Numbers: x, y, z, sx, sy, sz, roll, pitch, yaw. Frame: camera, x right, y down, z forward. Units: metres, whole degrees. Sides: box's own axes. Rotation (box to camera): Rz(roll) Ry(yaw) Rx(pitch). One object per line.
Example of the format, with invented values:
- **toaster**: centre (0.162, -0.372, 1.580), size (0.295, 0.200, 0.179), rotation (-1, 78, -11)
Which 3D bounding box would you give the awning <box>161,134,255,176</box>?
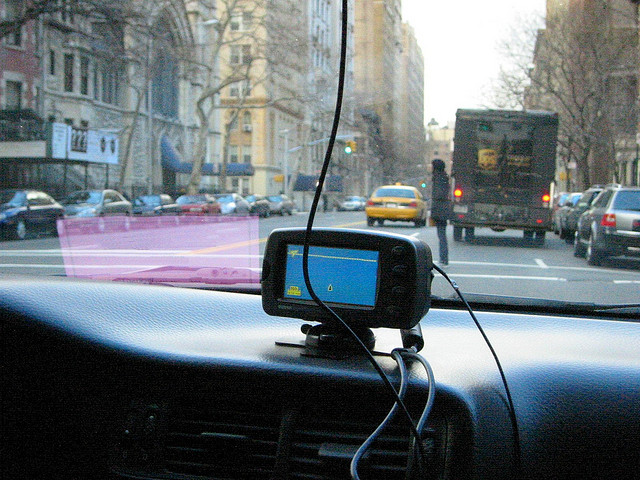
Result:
- **awning**: centre (-0.831, -0.612, 6.008), size (0.635, 0.290, 0.663), rotation (3, 4, 0)
